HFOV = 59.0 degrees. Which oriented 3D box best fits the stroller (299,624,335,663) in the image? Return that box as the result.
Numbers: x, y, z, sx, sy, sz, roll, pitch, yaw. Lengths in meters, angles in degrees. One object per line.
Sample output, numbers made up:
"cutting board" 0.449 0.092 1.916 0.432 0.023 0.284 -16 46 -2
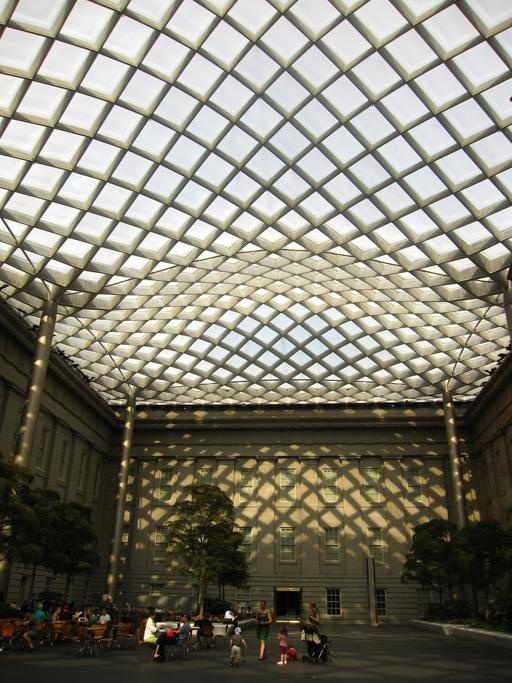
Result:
"stroller" 1.659 8.174 12.364 0.729 0.821 1.701 -3 -26 5
